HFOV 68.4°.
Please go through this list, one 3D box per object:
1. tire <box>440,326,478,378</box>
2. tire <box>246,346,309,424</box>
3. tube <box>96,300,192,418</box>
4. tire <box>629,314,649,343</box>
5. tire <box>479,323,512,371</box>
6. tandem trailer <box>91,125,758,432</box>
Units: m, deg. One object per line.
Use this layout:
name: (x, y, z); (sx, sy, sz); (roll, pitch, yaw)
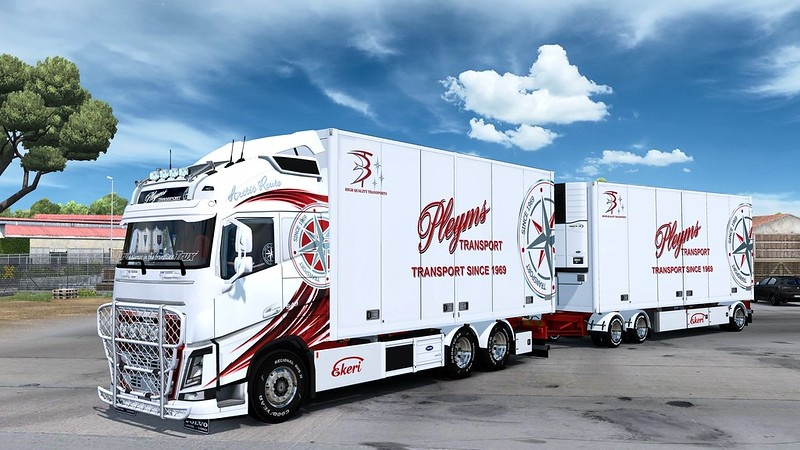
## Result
tire: (1.752, 3.892, 18.357); (0.584, 1.663, 1.730); (-6, -6, 30)
tire: (-3.160, 4.104, 15.127); (1.480, 1.852, 0.172); (-2, 4, -29)
tube: (-6.538, 3.340, 14.821); (3.158, 2.747, 0.340); (1, 2, 27)
tire: (9.445, 3.994, 23.173); (1.253, 1.198, 0.438); (3, 0, -39)
tire: (3.054, 3.833, 18.921); (1.597, 1.535, 0.545); (-7, 7, -43)
tandem trailer: (4.118, 1.077, 20.907); (26.457, 7.857, 3.254); (-2, 4, -32)
